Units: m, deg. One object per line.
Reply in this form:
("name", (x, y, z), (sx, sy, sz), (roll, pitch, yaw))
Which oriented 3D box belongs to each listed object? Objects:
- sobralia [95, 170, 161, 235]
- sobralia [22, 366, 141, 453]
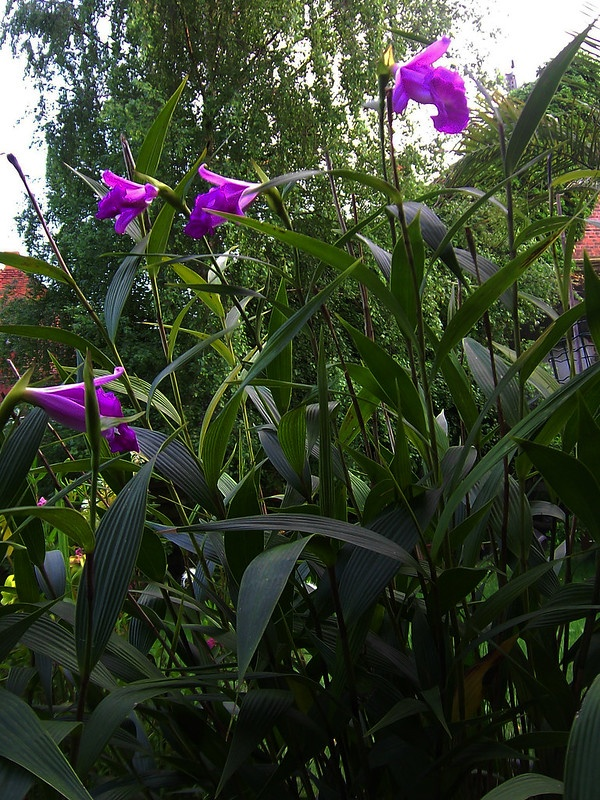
("sobralia", (-0.164, -0.192, 0.541), (0.045, 0.060, 0.097), (6, -13, -22))
("sobralia", (-0.169, -0.004, 0.428), (0.084, 0.059, 0.031), (9, -13, -19))
